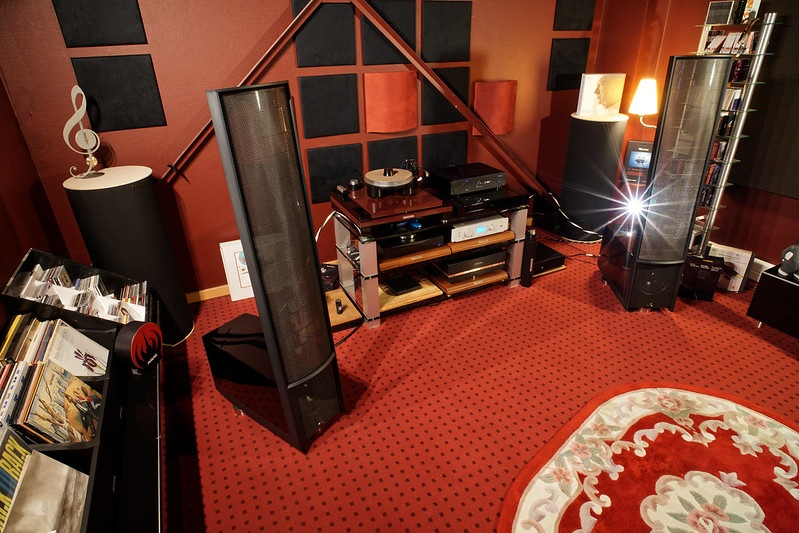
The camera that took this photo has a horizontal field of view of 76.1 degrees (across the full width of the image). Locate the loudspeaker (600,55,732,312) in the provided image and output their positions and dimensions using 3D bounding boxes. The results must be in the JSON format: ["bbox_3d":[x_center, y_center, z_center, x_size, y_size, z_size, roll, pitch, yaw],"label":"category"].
[{"bbox_3d":[1.894,-0.626,3.883,0.424,2.011,0.836,-5,33,2],"label":"loudspeaker"}]

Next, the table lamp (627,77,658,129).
[{"bbox_3d":[2.063,-1.333,4.324,0.158,0.285,0.226,0,34,-7],"label":"table lamp"}]

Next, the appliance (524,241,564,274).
[{"bbox_3d":[1.269,-0.037,4.401,0.250,0.186,0.354,8,30,22],"label":"appliance"}]

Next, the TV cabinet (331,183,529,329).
[{"bbox_3d":[0.461,-0.058,4.008,1.043,0.632,0.563,-13,-3,13],"label":"TV cabinet"}]

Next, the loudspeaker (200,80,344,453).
[{"bbox_3d":[-0.752,0.037,2.822,0.719,1.974,0.517,11,31,26],"label":"loudspeaker"}]
